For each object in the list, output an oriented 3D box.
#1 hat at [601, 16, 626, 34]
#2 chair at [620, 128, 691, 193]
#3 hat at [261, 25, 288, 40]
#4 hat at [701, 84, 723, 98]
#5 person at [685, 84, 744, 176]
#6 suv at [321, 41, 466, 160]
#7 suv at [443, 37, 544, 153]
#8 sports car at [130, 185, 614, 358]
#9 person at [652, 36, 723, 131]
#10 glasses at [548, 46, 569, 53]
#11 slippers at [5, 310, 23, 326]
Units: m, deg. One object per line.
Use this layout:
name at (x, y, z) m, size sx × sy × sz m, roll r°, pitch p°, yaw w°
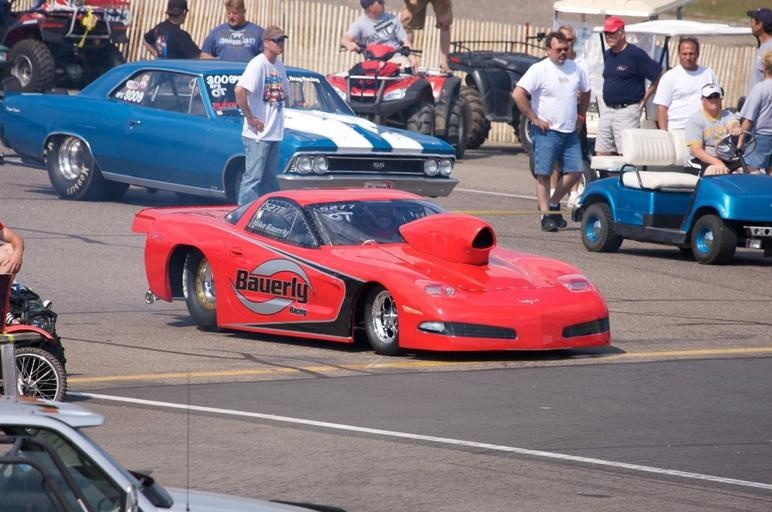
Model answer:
hat at (3.116, -3.120, 19.876) m, size 0.243 × 0.182 × 0.434 m, roll 2°, pitch 14°, yaw 11°
chair at (3.545, -1.237, 18.452) m, size 0.949 × 0.796 × 0.890 m, roll 1°, pitch 3°, yaw -25°
hat at (-1.341, -2.642, 17.357) m, size 0.294 × 0.114 × 0.193 m, roll 5°, pitch 9°, yaw 37°
hat at (4.098, -2.047, 18.189) m, size 0.273 × 0.148 × 0.251 m, roll -2°, pitch 14°, yaw -6°
person at (4.186, -1.528, 18.146) m, size 0.965 × 1.093 × 1.011 m, roll -2°, pitch 15°, yaw 4°
suv at (0.277, -2.669, 24.715) m, size 1.721 × 1.513 × 2.571 m, roll 5°, pitch 4°, yaw 28°
suv at (2.351, -3.008, 26.733) m, size 1.569 × 1.928 × 2.611 m, roll -6°, pitch 8°, yaw -40°
sports car at (-0.306, 0.121, 14.510) m, size 3.798 × 0.922 × 2.057 m, roll 3°, pitch 3°, yaw 31°
person at (4.085, -2.013, 19.702) m, size 0.973 × 1.727 × 0.516 m, roll -6°, pitch 15°, yaw -13°
glasses at (2.269, -2.682, 19.125) m, size 0.238 × 0.093 × 0.194 m, roll 0°, pitch 14°, yaw 3°
slippers at (-3.226, 0.537, 12.575) m, size 0.120 × 0.040 × 0.089 m, roll 25°, pitch 17°, yaw 26°
